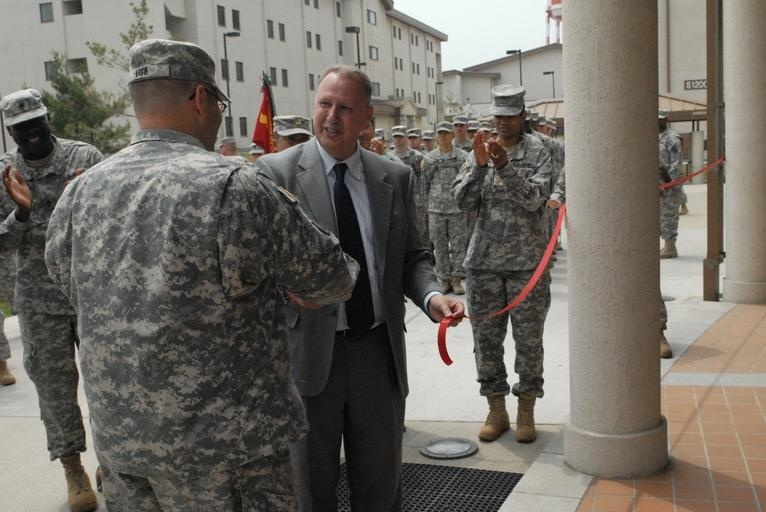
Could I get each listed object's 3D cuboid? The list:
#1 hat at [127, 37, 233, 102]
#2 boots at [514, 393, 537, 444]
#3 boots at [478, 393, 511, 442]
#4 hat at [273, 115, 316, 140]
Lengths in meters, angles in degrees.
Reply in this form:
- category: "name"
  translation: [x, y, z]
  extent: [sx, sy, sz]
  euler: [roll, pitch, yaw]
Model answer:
- category: "hat"
  translation: [-0.967, -0.859, 3.419]
  extent: [0.369, 0.229, 0.488]
  euler: [1, 2, 42]
- category: "boots"
  translation: [1.199, 1.334, 6.017]
  extent: [0.175, 0.352, 0.370]
  euler: [-3, 11, 11]
- category: "boots"
  translation: [0.938, 1.364, 6.112]
  extent: [0.167, 0.323, 0.457]
  euler: [-2, 7, 34]
- category: "hat"
  translation: [-0.924, -1.289, 7.109]
  extent: [0.437, 0.214, 0.602]
  euler: [1, 11, -20]
